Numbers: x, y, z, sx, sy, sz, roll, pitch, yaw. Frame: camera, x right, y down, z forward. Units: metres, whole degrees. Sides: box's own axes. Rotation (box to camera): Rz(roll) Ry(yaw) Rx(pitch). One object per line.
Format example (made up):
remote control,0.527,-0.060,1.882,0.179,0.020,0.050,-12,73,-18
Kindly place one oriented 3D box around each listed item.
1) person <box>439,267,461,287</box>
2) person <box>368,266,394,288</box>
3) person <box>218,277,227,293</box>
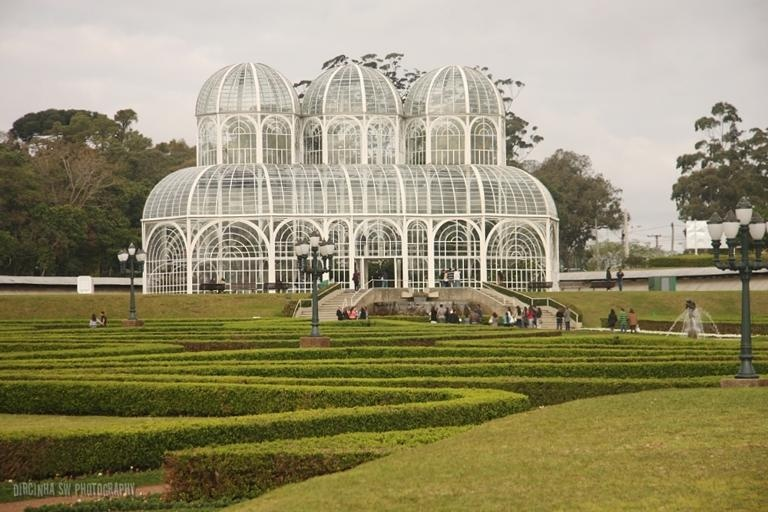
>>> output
person,3.848,1.246,72.344,1.638,1.370,0.968,-2,-11,11
person,-0.162,1.027,73.549,1.574,1.372,0.453,-2,-6,24
person,-9.239,1.563,71.522,0.471,1.025,1.252,1,-5,-8
